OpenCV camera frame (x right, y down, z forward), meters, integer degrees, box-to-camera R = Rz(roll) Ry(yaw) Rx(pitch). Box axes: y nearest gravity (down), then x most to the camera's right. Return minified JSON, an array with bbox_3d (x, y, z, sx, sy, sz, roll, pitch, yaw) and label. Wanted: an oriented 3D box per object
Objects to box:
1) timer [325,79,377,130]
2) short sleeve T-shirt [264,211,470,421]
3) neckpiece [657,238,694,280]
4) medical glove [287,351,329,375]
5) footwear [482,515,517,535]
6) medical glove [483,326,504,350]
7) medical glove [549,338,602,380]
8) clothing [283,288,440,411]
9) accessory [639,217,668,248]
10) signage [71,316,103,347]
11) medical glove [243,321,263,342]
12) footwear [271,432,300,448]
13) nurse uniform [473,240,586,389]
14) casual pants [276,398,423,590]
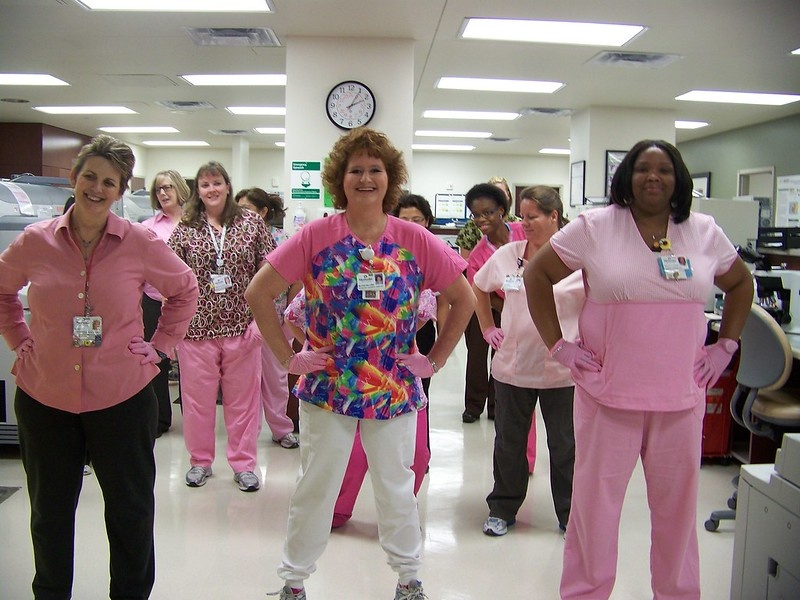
[{"bbox_3d":[-0.464,-1.870,5.649,0.480,0.477,0.118,0,5,-6],"label":"timer"},{"bbox_3d":[-0.128,0.040,2.367,0.691,0.810,0.378,2,11,-2],"label":"short sleeve T-shirt"},{"bbox_3d":[1.058,-0.155,2.281,0.122,0.185,0.019,1,-29,-4],"label":"neckpiece"},{"bbox_3d":[-0.354,0.245,2.274,0.138,0.089,0.053,-11,4,14],"label":"medical glove"},{"bbox_3d":[0.520,1.218,3.170,0.068,0.083,0.177,-3,-11,28],"label":"footwear"},{"bbox_3d":[0.499,0.204,3.120,0.090,0.118,0.032,-33,-18,20],"label":"medical glove"},{"bbox_3d":[0.711,0.242,2.370,0.187,0.124,0.052,42,11,24],"label":"medical glove"},{"bbox_3d":[-0.153,0.382,2.982,0.838,0.852,0.460,-2,7,-6],"label":"clothing"},{"bbox_3d":[0.997,-0.256,2.320,0.080,0.113,0.041,0,-20,3],"label":"accessory"},{"bbox_3d":[-1.210,0.123,2.268,0.106,0.129,0.012,1,6,-10],"label":"signage"},{"bbox_3d":[-0.852,0.188,3.396,0.073,0.137,0.131,-2,8,-25],"label":"medical glove"},{"bbox_3d":[-0.837,1.040,4.313,0.196,0.091,0.079,-5,-7,34],"label":"footwear"},{"bbox_3d":[0.728,0.095,3.165,0.750,0.833,0.410,-1,5,12],"label":"nurse uniform"},{"bbox_3d":[-0.184,0.747,2.410,0.603,1.107,0.256,1,18,-11],"label":"casual pants"}]
